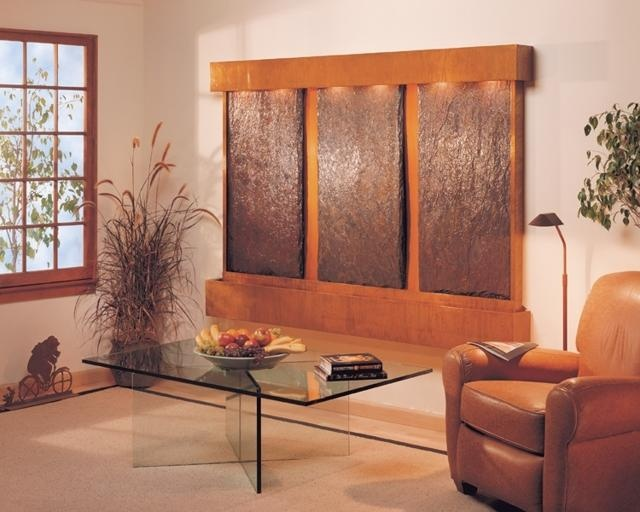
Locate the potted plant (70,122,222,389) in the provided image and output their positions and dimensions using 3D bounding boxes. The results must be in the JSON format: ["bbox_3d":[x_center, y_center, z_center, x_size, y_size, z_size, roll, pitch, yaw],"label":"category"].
[{"bbox_3d":[-1.611,-0.048,5.049,1.075,2.150,1.270,3,4,18],"label":"potted plant"}]

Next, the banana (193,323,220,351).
[{"bbox_3d":[-0.681,0.532,3.345,0.134,0.096,0.260,-10,12,-5],"label":"banana"}]
